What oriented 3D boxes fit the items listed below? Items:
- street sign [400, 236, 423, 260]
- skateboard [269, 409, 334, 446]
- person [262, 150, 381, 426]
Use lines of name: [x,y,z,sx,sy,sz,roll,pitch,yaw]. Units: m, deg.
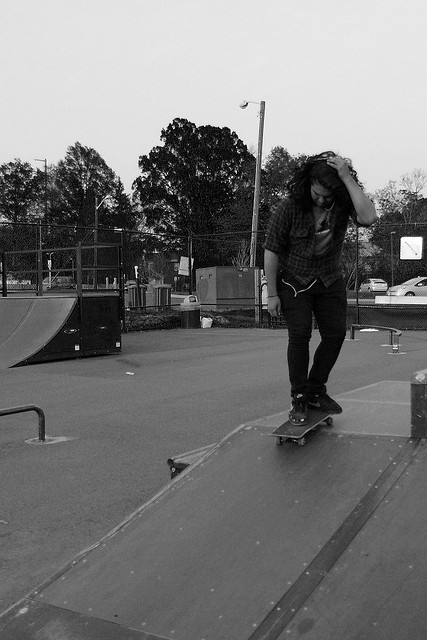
street sign: [7.044,-2.583,22.857,0.773,0.902,0.497,-5,4,22]
skateboard: [0.421,0.510,3.088,0.110,0.100,0.548,1,9,22]
person: [0.546,-0.143,3.264,0.554,1.384,0.425,-5,4,4]
